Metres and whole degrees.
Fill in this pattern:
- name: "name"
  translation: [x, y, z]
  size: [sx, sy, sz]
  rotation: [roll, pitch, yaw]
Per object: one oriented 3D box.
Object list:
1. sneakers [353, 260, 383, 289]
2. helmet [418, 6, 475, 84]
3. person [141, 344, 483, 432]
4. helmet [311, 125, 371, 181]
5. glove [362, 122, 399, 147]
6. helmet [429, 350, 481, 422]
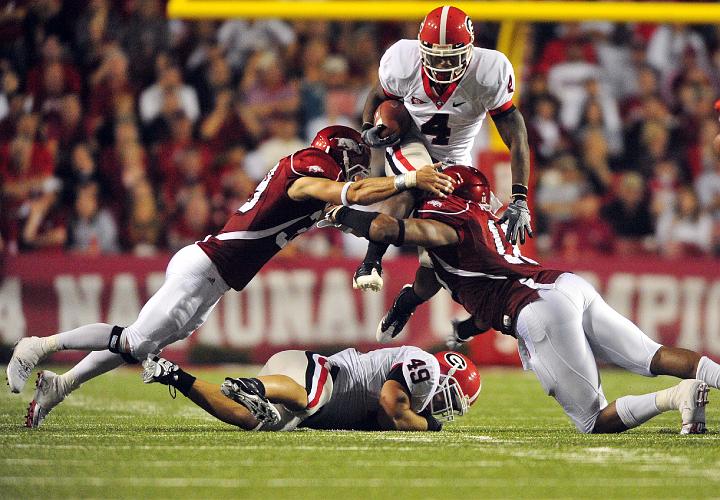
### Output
- name: "sneakers"
  translation: [0.071, 0.217, 9.689]
  size: [0.158, 0.190, 0.275]
  rotation: [14, -10, -27]
- name: "helmet"
  translation: [0.763, -1.743, 10.000]
  size: [0.490, 0.534, 0.641]
  rotation: [4, 51, 11]
- name: "person"
  translation: [-0.285, 1.133, 9.503]
  size: [2.895, 0.776, 1.255]
  rotation: [10, -15, -28]
- name: "helmet"
  translation: [-0.113, -0.882, 9.973]
  size: [0.441, 0.417, 0.347]
  rotation: [6, 6, 17]
- name: "glove"
  translation: [0.181, -0.989, 10.032]
  size: [0.274, 0.136, 0.193]
  rotation: [-13, 55, -17]
- name: "helmet"
  translation: [0.822, 1.116, 9.655]
  size: [0.513, 0.544, 0.414]
  rotation: [2, -24, 11]
